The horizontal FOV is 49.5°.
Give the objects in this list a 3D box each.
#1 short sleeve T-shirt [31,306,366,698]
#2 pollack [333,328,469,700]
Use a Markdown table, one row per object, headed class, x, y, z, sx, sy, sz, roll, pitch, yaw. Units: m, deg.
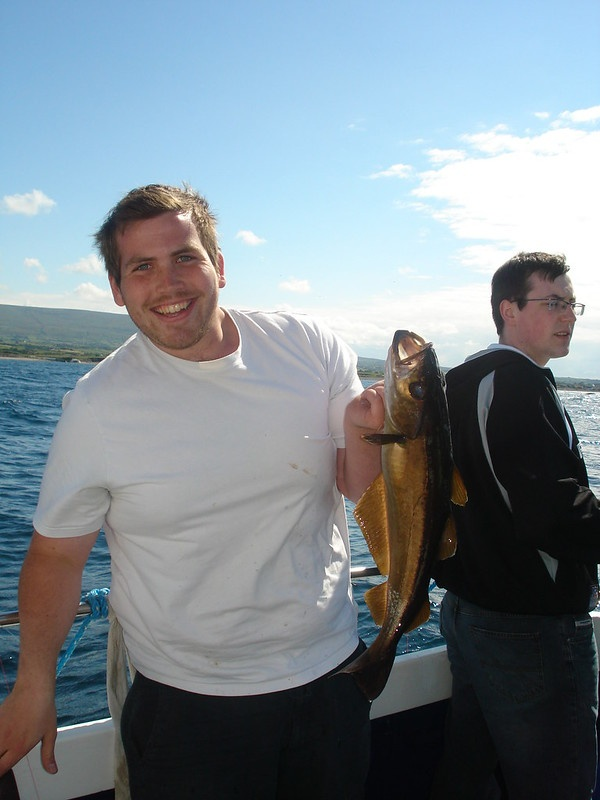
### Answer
| class | x | y | z | sx | sy | sz | roll | pitch | yaw |
| --- | --- | --- | --- | --- | --- | --- | --- | --- | --- |
| short sleeve T-shirt | -0.298 | 0.364 | 2.560 | 1.617 | 1.289 | 0.839 | -10 | 18 | -36 |
| pollack | 0.360 | 0.401 | 2.261 | 0.414 | 1.274 | 0.382 | 0 | 7 | 12 |
